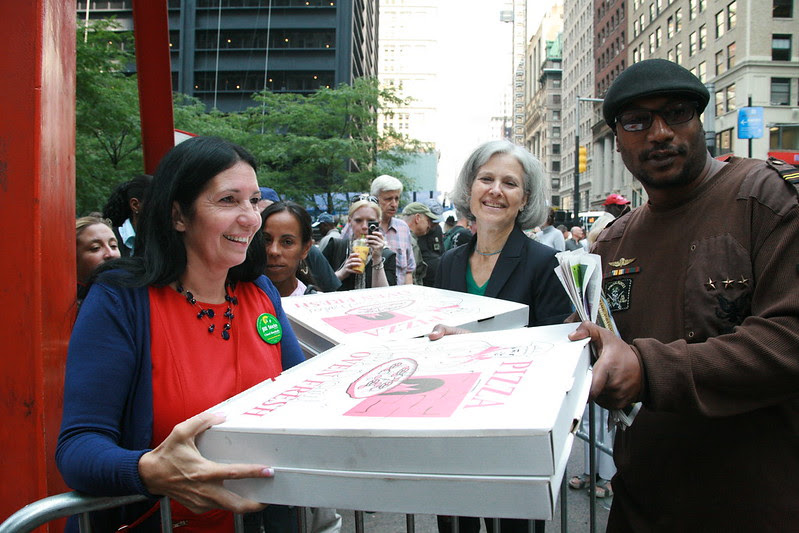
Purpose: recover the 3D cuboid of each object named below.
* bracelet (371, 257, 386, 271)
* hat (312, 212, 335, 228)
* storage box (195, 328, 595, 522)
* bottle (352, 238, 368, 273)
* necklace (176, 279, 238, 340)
[{"bbox_3d":[-0.195,-0.022,6.188,0.089,0.095,0.167,-1,7,-6],"label":"bracelet"},{"bbox_3d":[-1.753,-0.956,15.845,0.580,0.337,0.393,1,9,13],"label":"hat"},{"bbox_3d":[0.034,0.585,3.049,1.369,0.545,0.776,2,7,15],"label":"storage box"},{"bbox_3d":[-0.315,-0.061,5.931,0.129,0.267,0.363,0,7,-4],"label":"bottle"},{"bbox_3d":[-0.839,0.213,3.524,0.214,0.250,0.059,6,48,1],"label":"necklace"}]
